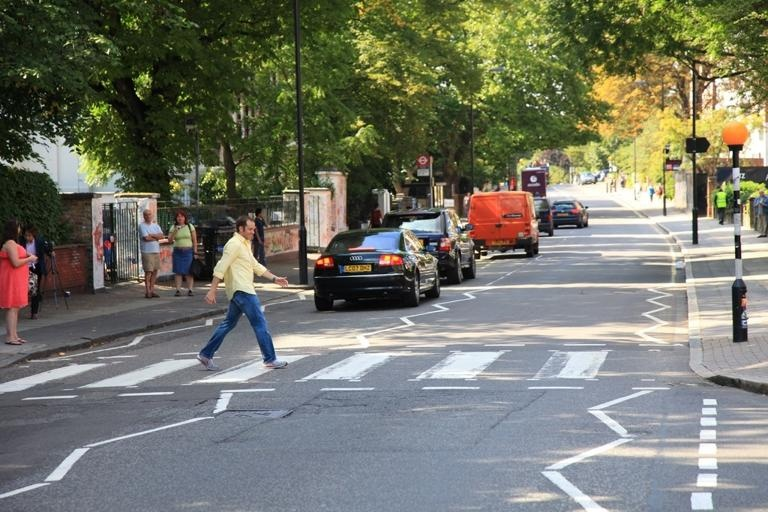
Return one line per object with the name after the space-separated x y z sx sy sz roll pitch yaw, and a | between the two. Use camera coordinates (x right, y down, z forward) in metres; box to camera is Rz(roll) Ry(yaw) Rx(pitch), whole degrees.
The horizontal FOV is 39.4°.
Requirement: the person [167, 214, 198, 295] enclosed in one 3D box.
-5.362 -0.058 28.730 0.683 2.251 0.734 -2 3 -12 | person

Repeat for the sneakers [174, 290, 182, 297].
-5.501 0.998 28.692 0.089 0.096 0.245 2 5 -2 | sneakers

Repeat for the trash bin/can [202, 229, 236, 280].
-5.026 -0.114 33.467 0.844 1.517 1.248 -13 -2 -2 | trash bin/can

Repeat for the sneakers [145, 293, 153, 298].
-6.201 1.045 28.435 0.149 0.112 0.423 -1 1 -12 | sneakers

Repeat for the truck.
4.689 -1.362 40.593 1.793 1.574 3.108 0 6 16 | truck

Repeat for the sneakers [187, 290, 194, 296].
-5.164 1.001 28.733 0.110 0.084 0.292 0 2 0 | sneakers

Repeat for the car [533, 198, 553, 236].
7.942 -2.099 54.571 1.269 1.186 2.368 -1 11 12 | car

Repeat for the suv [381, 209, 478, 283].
1.644 -0.436 31.044 1.486 1.222 3.221 0 5 15 | suv

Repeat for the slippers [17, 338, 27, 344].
-7.171 1.683 21.327 0.098 0.095 0.262 -8 -1 -24 | slippers

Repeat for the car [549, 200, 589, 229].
10.951 -2.435 63.001 1.979 1.558 2.911 -1 2 11 | car

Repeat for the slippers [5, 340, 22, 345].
-7.275 1.697 21.127 0.289 0.073 0.111 0 1 3 | slippers

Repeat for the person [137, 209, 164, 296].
-6.187 -0.061 28.666 0.589 2.327 1.066 -2 3 -12 | person
